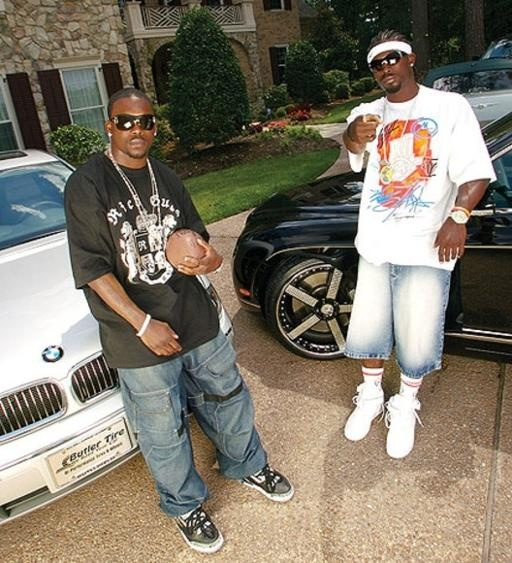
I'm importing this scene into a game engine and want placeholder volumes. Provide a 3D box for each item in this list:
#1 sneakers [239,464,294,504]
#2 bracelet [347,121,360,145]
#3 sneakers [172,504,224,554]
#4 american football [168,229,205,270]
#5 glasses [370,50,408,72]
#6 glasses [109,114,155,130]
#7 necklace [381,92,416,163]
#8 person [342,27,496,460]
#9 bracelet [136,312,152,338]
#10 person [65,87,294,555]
[{"bbox_3d":[0.069,0.945,2.216,0.253,0.093,0.116,18,51,21],"label":"sneakers"},{"bbox_3d":[0.452,-0.687,2.183,0.069,0.073,0.081,-4,-4,41],"label":"bracelet"},{"bbox_3d":[-0.248,1.033,2.027,0.115,0.098,0.248,-19,26,-42],"label":"sneakers"},{"bbox_3d":[-0.254,-0.119,1.813,0.125,0.077,0.154,-46,62,5],"label":"american football"},{"bbox_3d":[0.588,-0.965,2.070,0.166,0.074,0.078,-2,25,12],"label":"glasses"},{"bbox_3d":[-0.441,-0.574,1.708,0.152,0.064,0.071,-11,24,-10],"label":"glasses"},{"bbox_3d":[0.652,-0.685,2.151,0.206,0.272,0.156,10,32,36],"label":"necklace"},{"bbox_3d":[0.684,-0.147,2.276,0.795,1.952,0.650,-24,29,-26],"label":"person"},{"bbox_3d":[-0.407,0.161,1.714,0.024,0.071,0.081,25,16,8],"label":"bracelet"},{"bbox_3d":[-0.320,0.191,1.885,0.646,1.824,0.606,-27,30,-31],"label":"person"}]
